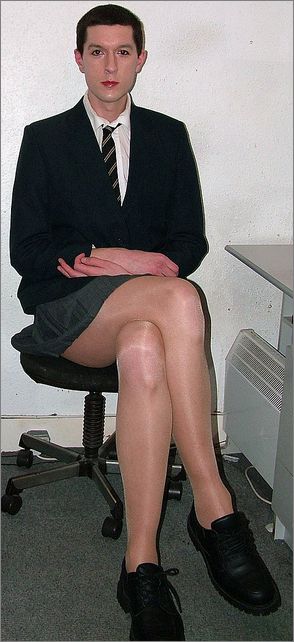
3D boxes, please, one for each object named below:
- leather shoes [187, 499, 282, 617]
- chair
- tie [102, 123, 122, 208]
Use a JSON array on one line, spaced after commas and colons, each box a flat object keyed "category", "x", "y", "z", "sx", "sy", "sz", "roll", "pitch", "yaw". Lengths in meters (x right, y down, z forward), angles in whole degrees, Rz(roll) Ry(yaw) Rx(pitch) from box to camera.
[{"category": "leather shoes", "x": 0.178, "y": 0.522, "z": 1.199, "sx": 0.106, "sy": 0.135, "sz": 0.306, "roll": -15, "pitch": 51, "yaw": -15}, {"category": "chair", "x": -0.150, "y": 0.294, "z": 1.640, "sx": 0.452, "sy": 0.521, "sz": 0.558, "roll": 4, "pitch": 29, "yaw": -2}, {"category": "tie", "x": -0.090, "y": -0.436, "z": 1.417, "sx": 0.039, "sy": 0.251, "sz": 0.020, "roll": -5, "pitch": -2, "yaw": -4}]
